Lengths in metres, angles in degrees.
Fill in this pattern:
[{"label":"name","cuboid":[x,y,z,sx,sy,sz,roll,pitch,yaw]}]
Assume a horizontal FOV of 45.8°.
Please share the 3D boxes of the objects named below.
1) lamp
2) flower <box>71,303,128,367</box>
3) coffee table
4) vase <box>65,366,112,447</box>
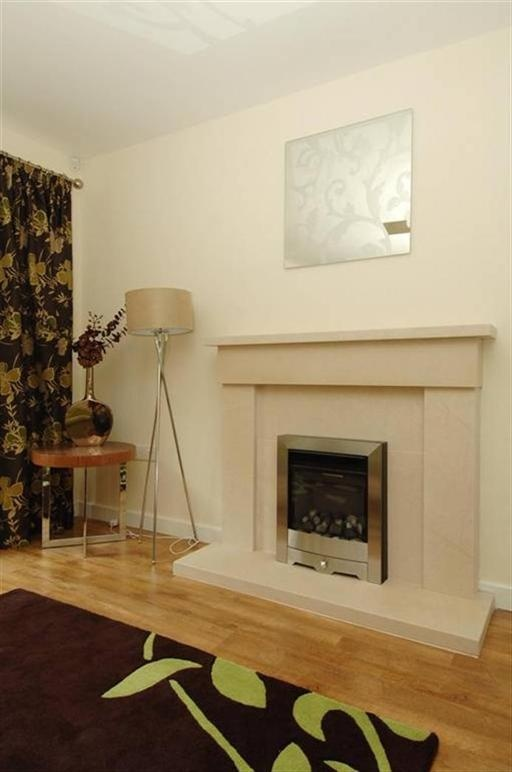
[{"label":"lamp","cuboid":[-0.502,0.184,3.246,0.361,1.375,0.747,-1,5,-7]},{"label":"flower","cuboid":[-0.920,-0.303,3.613,0.261,0.307,0.492,-5,28,-9]},{"label":"coffee table","cuboid":[-0.939,0.610,3.291,0.478,0.530,0.474,0,-2,-30]},{"label":"vase","cuboid":[-0.938,0.120,3.342,0.189,0.423,0.219,3,6,38]}]
